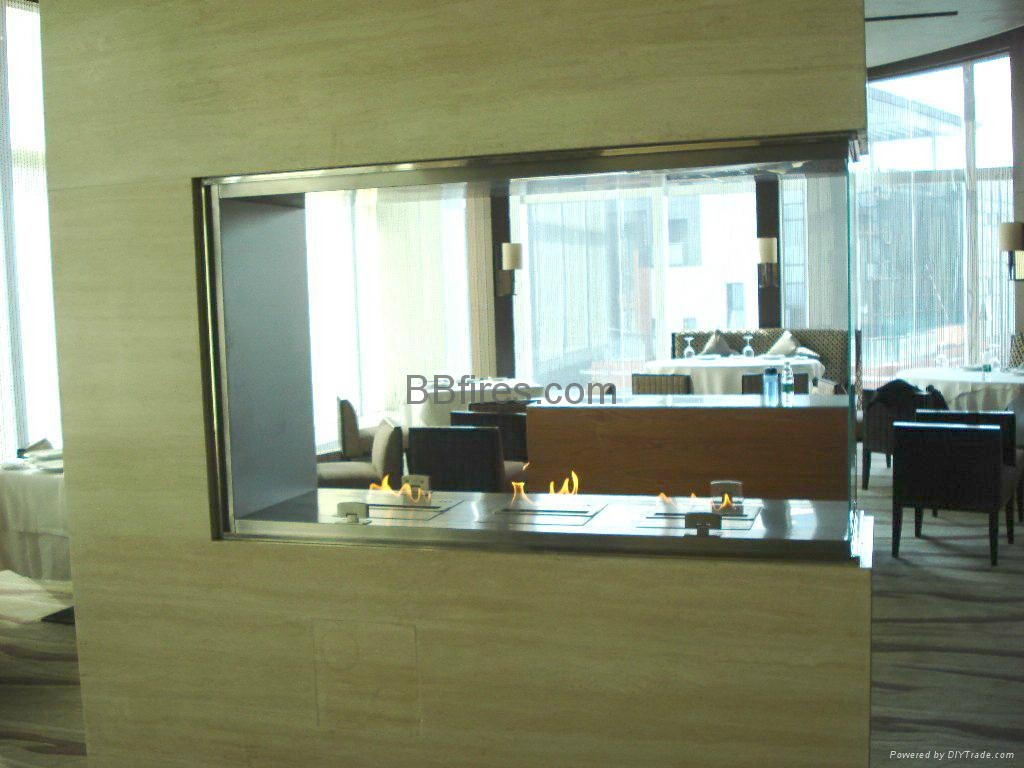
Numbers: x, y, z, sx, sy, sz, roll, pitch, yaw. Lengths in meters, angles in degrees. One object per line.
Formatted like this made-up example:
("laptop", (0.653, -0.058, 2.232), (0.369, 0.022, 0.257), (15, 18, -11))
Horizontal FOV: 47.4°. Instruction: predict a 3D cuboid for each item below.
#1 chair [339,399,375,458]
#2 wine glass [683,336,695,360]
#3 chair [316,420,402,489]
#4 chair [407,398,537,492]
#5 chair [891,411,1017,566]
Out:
("chair", (-1.013, 0.265, 7.720), (0.284, 0.419, 0.411), (-2, 8, -12))
("wine glass", (0.899, -0.185, 5.898), (0.057, 0.123, 0.059), (-6, 17, -6))
("chair", (-0.823, 0.441, 6.485), (0.446, 0.514, 0.461), (2, 1, -3))
("chair", (-0.167, 0.295, 5.257), (0.380, 0.594, 0.395), (1, 7, 16))
("chair", (2.514, 0.571, 6.719), (0.729, 0.923, 0.703), (0, 3, 25))
